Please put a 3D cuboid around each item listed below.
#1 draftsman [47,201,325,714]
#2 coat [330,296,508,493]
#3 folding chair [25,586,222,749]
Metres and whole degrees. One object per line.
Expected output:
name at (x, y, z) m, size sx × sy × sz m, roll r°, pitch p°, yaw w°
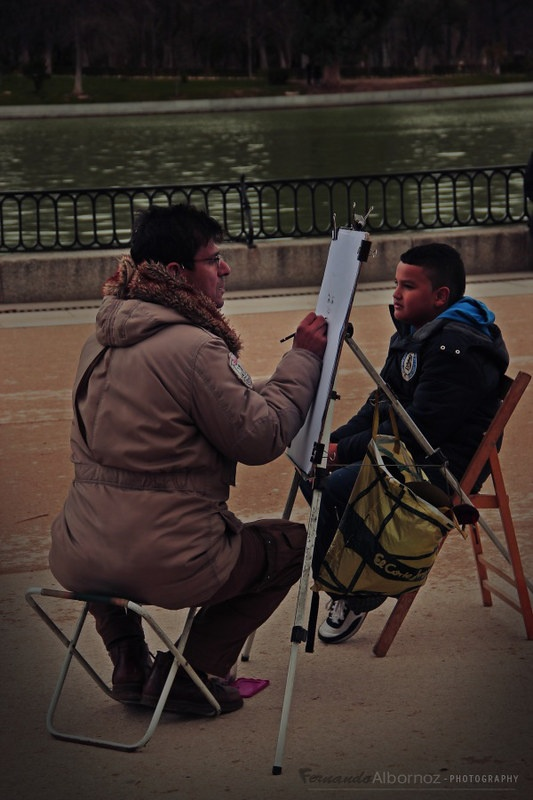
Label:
draftsman at (-0.076, 0.171, 2.779) m, size 0.992 × 1.357 × 0.995 m, roll 1°, pitch 21°, yaw -23°
coat at (0.564, -0.122, 3.372) m, size 0.634 × 0.679 × 0.598 m, roll 19°, pitch 27°, yaw 38°
folding chair at (-0.390, 0.711, 2.559) m, size 0.452 × 0.398 × 0.452 m, roll 1°, pitch -3°, yaw 10°
